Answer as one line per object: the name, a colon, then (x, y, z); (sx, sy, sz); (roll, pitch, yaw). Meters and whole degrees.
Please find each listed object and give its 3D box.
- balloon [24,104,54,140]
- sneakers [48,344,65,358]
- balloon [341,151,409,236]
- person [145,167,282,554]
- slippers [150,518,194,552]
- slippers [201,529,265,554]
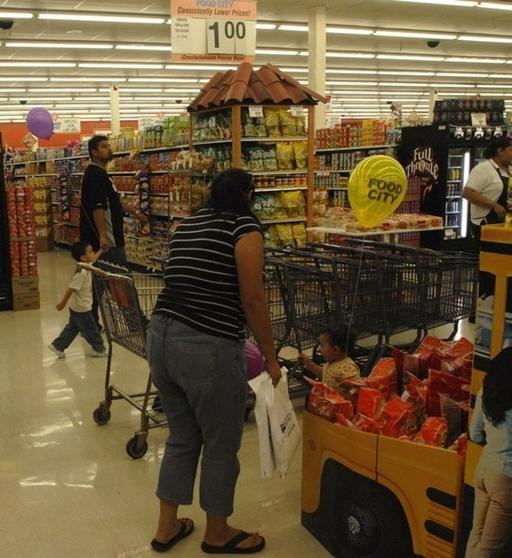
balloon: (-5.866, -4.265, 12.531); (0.614, 0.869, 0.819); (-4, 7, -27)
sneakers: (-1.886, 0.677, 4.375); (0.056, 0.133, 0.044); (-31, 23, 3)
balloon: (0.823, -0.598, 3.164); (0.345, 0.478, 0.292); (-3, 7, -23)
person: (-0.177, 0.332, 1.676); (0.494, 1.445, 0.317); (0, 7, 9)
slippers: (-0.337, 1.011, 1.842); (0.064, 0.046, 0.171); (16, 30, 30)
slippers: (-0.089, 0.981, 1.778); (0.177, 0.052, 0.099); (-2, 3, -4)
